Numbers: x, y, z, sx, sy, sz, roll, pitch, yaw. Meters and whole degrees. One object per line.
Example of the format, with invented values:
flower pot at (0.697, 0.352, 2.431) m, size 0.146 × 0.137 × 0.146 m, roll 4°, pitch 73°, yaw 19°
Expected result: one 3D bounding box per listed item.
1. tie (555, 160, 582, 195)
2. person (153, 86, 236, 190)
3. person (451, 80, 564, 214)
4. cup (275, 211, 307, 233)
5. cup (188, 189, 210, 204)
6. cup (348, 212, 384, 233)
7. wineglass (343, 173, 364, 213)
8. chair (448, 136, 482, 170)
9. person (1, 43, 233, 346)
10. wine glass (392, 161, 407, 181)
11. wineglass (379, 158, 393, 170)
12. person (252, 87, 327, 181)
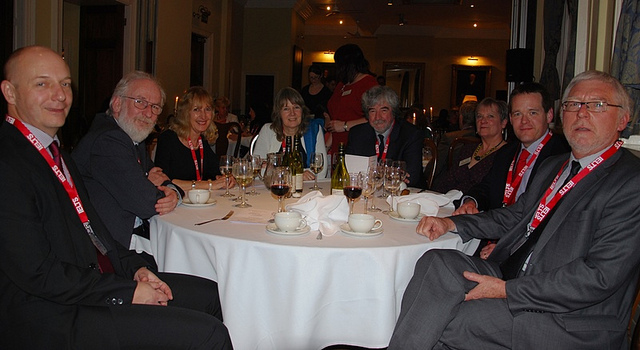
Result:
tie at (1.608, -0.017, 2.701) m, size 0.050 × 0.059 × 0.439 m, roll 32°, pitch 32°, yaw 0°
person at (-1.104, -0.302, 3.974) m, size 0.878 × 0.962 × 0.667 m, roll 4°, pitch 2°, yaw -1°
person at (1.691, -0.098, 3.663) m, size 0.953 × 1.304 × 0.823 m, roll -6°, pitch 10°, yaw -16°
cup at (-0.198, 0.314, 2.733) m, size 0.210 × 0.108 × 0.179 m, roll 4°, pitch 2°, yaw -3°
cup at (-0.869, 0.155, 3.096) m, size 0.106 × 0.068 × 0.114 m, roll 2°, pitch 10°, yaw 0°
cup at (0.293, 0.311, 2.718) m, size 0.160 × 0.072 × 0.125 m, roll 8°, pitch -7°, yaw 1°
wineglass at (0.235, 0.154, 3.021) m, size 0.157 × 0.350 × 0.138 m, roll 0°, pitch 12°, yaw -4°
chair at (1.714, -0.256, 5.005) m, size 0.405 × 0.576 × 0.368 m, roll 3°, pitch 3°, yaw 16°
person at (-1.273, 0.087, 2.417) m, size 1.065 × 1.604 × 0.705 m, roll -1°, pitch 10°, yaw -15°
wine glass at (0.620, -0.032, 3.210) m, size 0.149 × 0.141 × 0.148 m, roll 1°, pitch -1°, yaw 8°
wineglass at (0.543, -0.093, 3.464) m, size 0.097 × 0.069 × 0.097 m, roll 0°, pitch 3°, yaw 8°
person at (-0.300, -0.292, 4.232) m, size 0.761 × 1.112 × 0.763 m, roll -5°, pitch -11°, yaw -7°
